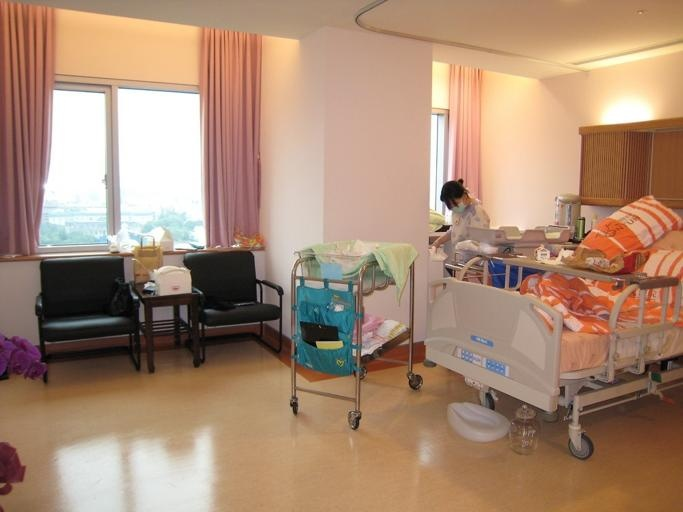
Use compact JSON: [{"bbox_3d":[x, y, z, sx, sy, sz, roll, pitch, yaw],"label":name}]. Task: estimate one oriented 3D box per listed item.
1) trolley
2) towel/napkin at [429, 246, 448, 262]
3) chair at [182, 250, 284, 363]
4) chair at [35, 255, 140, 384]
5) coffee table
[{"bbox_3d":[0.120,0.567,4.365,0.830,1.315,1.105,4,8,40],"label":"trolley"},{"bbox_3d":[0.990,-0.027,5.461,0.150,0.076,0.152,2,4,-12],"label":"towel/napkin"},{"bbox_3d":[-1.128,0.434,5.453,0.929,1.181,1.112,-2,3,-27],"label":"chair"},{"bbox_3d":[-2.358,0.540,4.952,0.814,0.966,0.890,-6,15,-27],"label":"chair"},{"bbox_3d":[-1.671,0.573,5.227,0.696,0.839,0.952,-4,9,-26],"label":"coffee table"}]
